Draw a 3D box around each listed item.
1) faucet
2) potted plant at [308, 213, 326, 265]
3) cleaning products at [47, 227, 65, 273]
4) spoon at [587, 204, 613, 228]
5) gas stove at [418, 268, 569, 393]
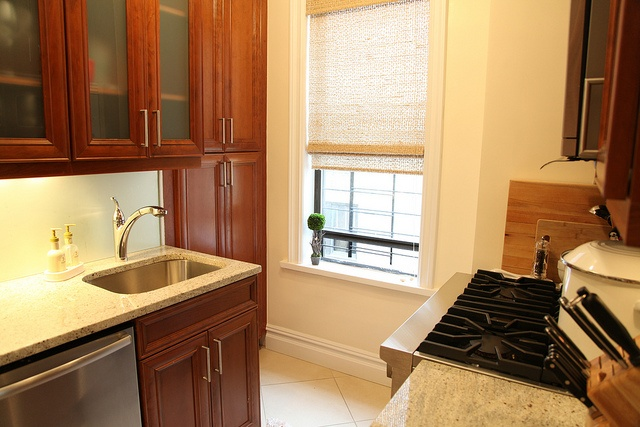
[{"bbox_3d":[-1.036,0.084,2.532,0.279,0.335,0.489,-3,10,-21],"label":"faucet"},{"bbox_3d":[-0.038,0.196,3.461,0.124,0.403,0.222,0,10,-1],"label":"potted plant"},{"bbox_3d":[-1.300,0.187,2.174,0.078,0.216,0.060,-6,12,-33],"label":"cleaning products"},{"bbox_3d":[1.166,0.015,1.849,0.078,0.040,0.143,2,13,7],"label":"spoon"},{"bbox_3d":[0.702,0.394,1.724,0.375,0.079,0.712,8,20,29],"label":"gas stove"}]
